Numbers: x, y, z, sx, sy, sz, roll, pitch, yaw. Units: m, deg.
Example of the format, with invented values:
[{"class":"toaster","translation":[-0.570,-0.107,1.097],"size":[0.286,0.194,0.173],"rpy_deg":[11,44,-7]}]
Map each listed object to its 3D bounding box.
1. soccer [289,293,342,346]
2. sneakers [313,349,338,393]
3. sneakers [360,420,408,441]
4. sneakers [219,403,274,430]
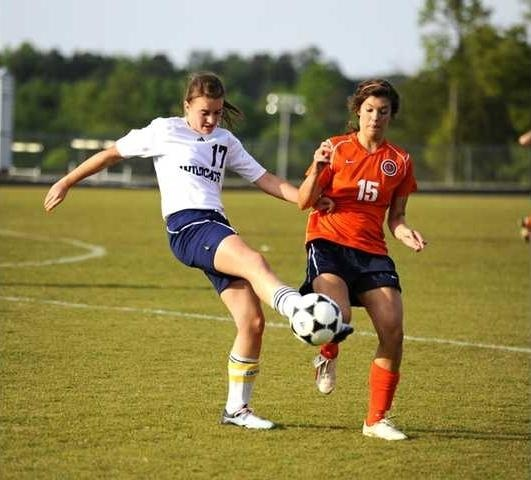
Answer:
[{"class":"soccer","translation":[0.278,0.450,5.380],"size":[0.264,0.282,0.271],"rpy_deg":[-3,0,-11]},{"class":"sneakers","translation":[0.382,0.864,6.117],"size":[0.097,0.307,0.126],"rpy_deg":[-2,-6,4]},{"class":"sneakers","translation":[0.720,1.154,5.701],"size":[0.223,0.100,0.124],"rpy_deg":[-1,-2,16]},{"class":"sneakers","translation":[-0.116,1.086,5.787],"size":[0.309,0.132,0.126],"rpy_deg":[2,1,15]}]
